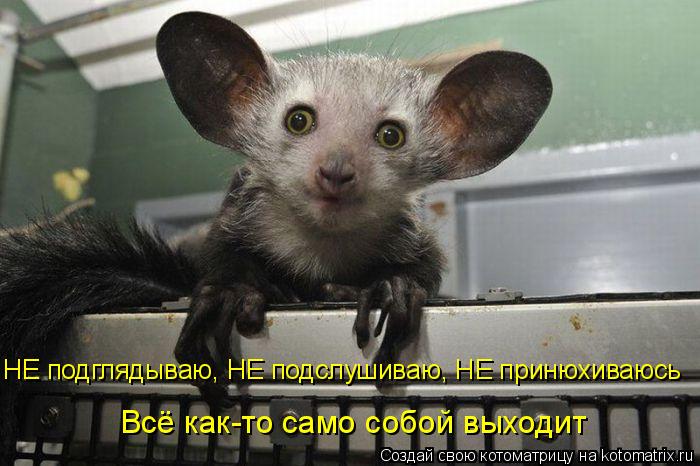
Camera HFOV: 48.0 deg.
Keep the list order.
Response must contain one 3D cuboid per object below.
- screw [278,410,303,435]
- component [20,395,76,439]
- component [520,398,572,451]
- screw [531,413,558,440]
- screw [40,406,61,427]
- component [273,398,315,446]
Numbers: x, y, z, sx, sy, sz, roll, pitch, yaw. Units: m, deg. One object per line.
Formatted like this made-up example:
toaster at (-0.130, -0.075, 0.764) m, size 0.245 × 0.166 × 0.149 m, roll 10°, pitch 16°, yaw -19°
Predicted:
screw at (-0.117, 0.377, 1.561) m, size 0.044 × 0.042 × 0.029 m, roll -12°, pitch 26°, yaw 0°
component at (-0.629, 0.388, 1.651) m, size 0.105 × 0.099 × 0.097 m, roll 3°, pitch -2°, yaw 0°
component at (0.377, 0.370, 1.518) m, size 0.099 × 0.107 × 0.028 m, roll 6°, pitch 9°, yaw 16°
screw at (0.374, 0.373, 1.505) m, size 0.047 × 0.047 × 0.029 m, roll -5°, pitch 27°, yaw 14°
screw at (-0.627, 0.385, 1.647) m, size 0.040 × 0.040 × 0.013 m, roll -10°, pitch -10°, yaw 14°
component at (-0.110, 0.380, 1.562) m, size 0.086 × 0.084 × 0.045 m, roll 0°, pitch -9°, yaw 5°
